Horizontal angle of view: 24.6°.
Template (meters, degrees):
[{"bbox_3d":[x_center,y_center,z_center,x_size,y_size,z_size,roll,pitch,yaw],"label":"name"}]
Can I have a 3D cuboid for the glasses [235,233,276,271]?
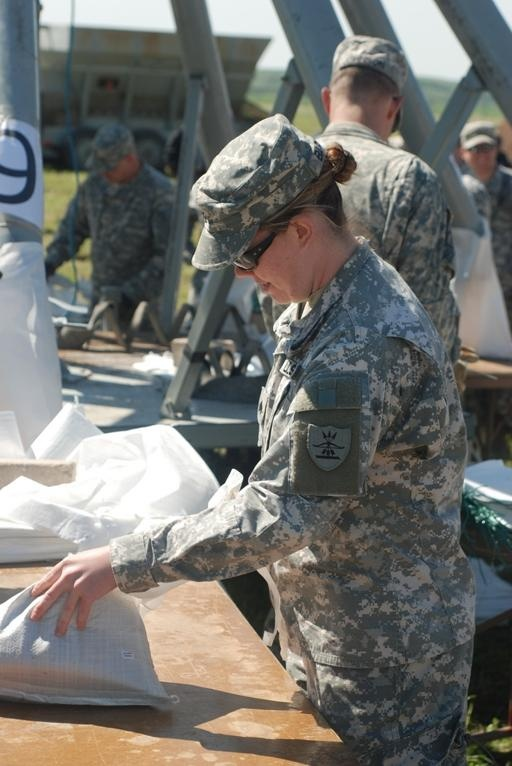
[{"bbox_3d":[-0.006,-0.248,2.301,0.024,0.074,0.074,53,-19,-10],"label":"glasses"}]

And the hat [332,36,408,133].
[{"bbox_3d":[0.336,-0.974,3.650,0.223,0.206,0.253,4,18,1],"label":"hat"}]

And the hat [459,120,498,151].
[{"bbox_3d":[1.276,-1.414,6.743,0.338,0.125,0.425,-2,7,2],"label":"hat"}]

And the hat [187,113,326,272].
[{"bbox_3d":[-0.003,-0.366,2.292,0.234,0.317,0.150,13,13,-6],"label":"hat"}]
